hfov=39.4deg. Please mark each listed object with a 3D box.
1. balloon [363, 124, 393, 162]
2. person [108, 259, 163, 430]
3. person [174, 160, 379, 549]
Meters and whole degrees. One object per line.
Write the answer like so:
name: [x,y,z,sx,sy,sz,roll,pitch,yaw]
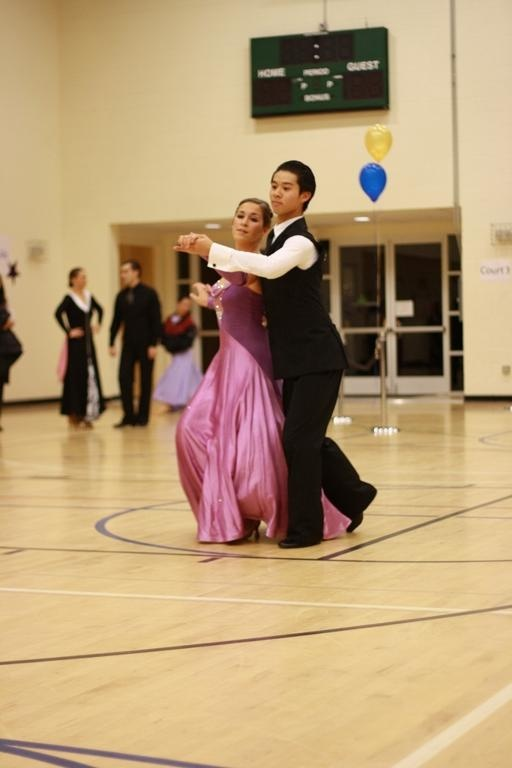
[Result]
balloon: [1.629,-3.256,9.595,0.311,0.523,0.263,-3,-5,27]
person: [-1.645,-0.522,9.517,0.619,2.227,0.688,2,-5,-33]
person: [0.159,-0.182,3.011,0.481,1.729,0.943,-3,-5,22]
